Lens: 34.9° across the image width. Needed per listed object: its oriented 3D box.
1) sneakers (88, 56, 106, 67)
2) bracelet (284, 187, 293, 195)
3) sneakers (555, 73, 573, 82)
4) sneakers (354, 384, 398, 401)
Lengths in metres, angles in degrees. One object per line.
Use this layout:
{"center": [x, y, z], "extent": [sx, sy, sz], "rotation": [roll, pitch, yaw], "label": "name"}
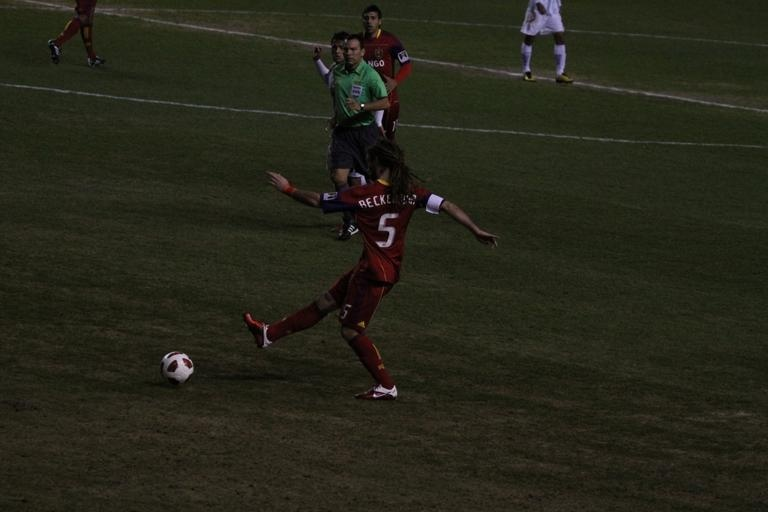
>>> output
{"center": [-5.018, -3.461, 21.794], "extent": [0.423, 0.156, 0.109], "rotation": [-5, 65, -2], "label": "sneakers"}
{"center": [-0.977, -0.688, 12.871], "extent": [0.086, 0.071, 0.070], "rotation": [29, 69, 9], "label": "bracelet"}
{"center": [3.471, -3.328, 23.067], "extent": [0.297, 0.183, 0.358], "rotation": [5, 21, 4], "label": "sneakers"}
{"center": [-0.038, 1.428, 13.010], "extent": [0.518, 0.148, 0.155], "rotation": [1, 1, -1], "label": "sneakers"}
